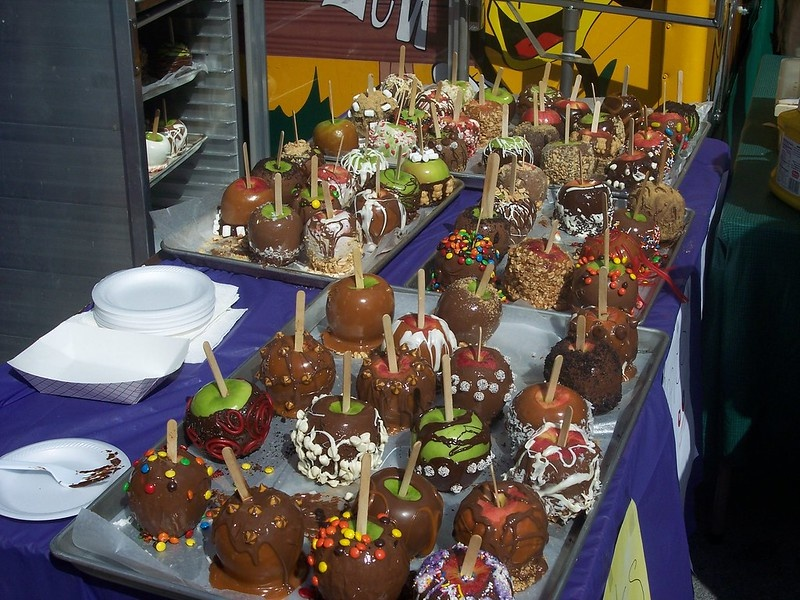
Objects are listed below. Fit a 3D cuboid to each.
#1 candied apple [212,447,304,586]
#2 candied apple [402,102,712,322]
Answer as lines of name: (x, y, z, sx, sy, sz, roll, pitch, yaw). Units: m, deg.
candied apple: (-0.296, 0.431, 1.492, 0.196, 0.316, 0.163, -3, 21, -15)
candied apple: (0.577, -0.268, 2.666, 0.862, 0.871, 0.915, 18, 38, 27)
